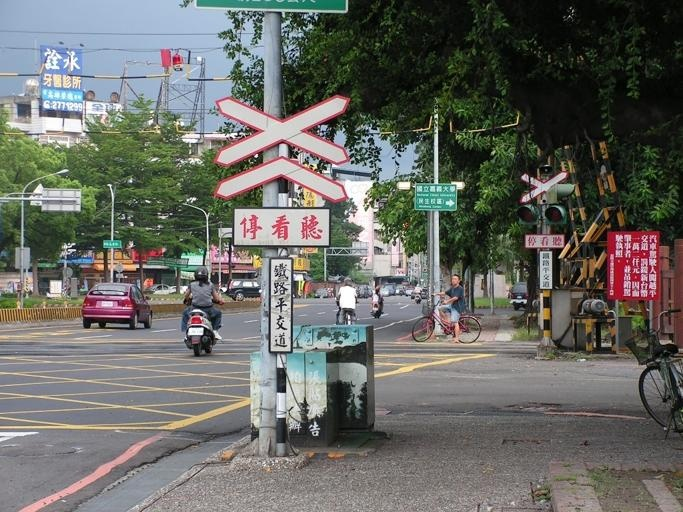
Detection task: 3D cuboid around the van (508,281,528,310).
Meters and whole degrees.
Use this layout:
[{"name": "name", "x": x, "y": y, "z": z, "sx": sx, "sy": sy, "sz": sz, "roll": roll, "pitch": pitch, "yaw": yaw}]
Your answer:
[{"name": "van", "x": 11.511, "y": 2.482, "z": 57.793, "sx": 1.851, "sy": 1.795, "sz": 4.147, "roll": 0, "pitch": -5, "yaw": 6}]

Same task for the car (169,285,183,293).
[{"name": "car", "x": -16.159, "y": 3.267, "z": 90.177, "sx": 1.791, "sy": 0.616, "sz": 0.845, "roll": -8, "pitch": -1, "yaw": 28}]

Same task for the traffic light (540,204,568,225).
[{"name": "traffic light", "x": 4.579, "y": -0.919, "z": 19.759, "sx": 0.453, "sy": 0.411, "sz": 0.650, "roll": -1, "pitch": -2, "yaw": 11}]

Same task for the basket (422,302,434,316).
[{"name": "basket", "x": 2.993, "y": 1.868, "z": 32.414, "sx": 0.505, "sy": 0.488, "sz": 0.397, "roll": 7, "pitch": -8, "yaw": -24}]

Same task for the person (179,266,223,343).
[{"name": "person", "x": -3.151, "y": 0.973, "z": 21.665, "sx": 1.054, "sy": 1.195, "sz": 1.748, "roll": 0, "pitch": 2, "yaw": 1}]

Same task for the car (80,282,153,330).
[{"name": "car", "x": -7.906, "y": 1.733, "z": 32.816, "sx": 1.247, "sy": 1.087, "sz": 2.547, "roll": 0, "pitch": 1, "yaw": 3}]

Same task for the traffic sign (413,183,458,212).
[{"name": "traffic sign", "x": 3.026, "y": -1.907, "z": 29.350, "sx": 1.170, "sy": 0.811, "sz": 0.082, "roll": 0, "pitch": 3, "yaw": 3}]

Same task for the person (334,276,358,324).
[{"name": "person", "x": 0.199, "y": 1.608, "z": 31.439, "sx": 0.868, "sy": 1.017, "sz": 1.625, "roll": 1, "pitch": 7, "yaw": 1}]

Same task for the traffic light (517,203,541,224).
[{"name": "traffic light", "x": 4.004, "y": -0.892, "z": 19.637, "sx": 0.480, "sy": 0.496, "sz": 0.386, "roll": -2, "pitch": -1, "yaw": 21}]

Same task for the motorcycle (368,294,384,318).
[{"name": "motorcycle", "x": 1.709, "y": 2.521, "z": 45.879, "sx": 0.544, "sy": 0.763, "sz": 1.218, "roll": 2, "pitch": 7, "yaw": 6}]

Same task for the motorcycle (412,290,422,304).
[{"name": "motorcycle", "x": 6.154, "y": 3.332, "z": 74.497, "sx": 0.596, "sy": 0.692, "sz": 1.112, "roll": 0, "pitch": -7, "yaw": 2}]

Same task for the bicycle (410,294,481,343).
[{"name": "bicycle", "x": 3.435, "y": 2.030, "z": 28.141, "sx": 2.449, "sy": 1.474, "sz": 1.228, "roll": 2, "pitch": 4, "yaw": -2}]

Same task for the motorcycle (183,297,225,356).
[{"name": "motorcycle", "x": -3.190, "y": 1.731, "z": 21.138, "sx": 0.678, "sy": 1.142, "sz": 1.085, "roll": 0, "pitch": -2, "yaw": 4}]

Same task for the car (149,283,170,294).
[{"name": "car", "x": -18.317, "y": 3.427, "z": 93.542, "sx": 2.061, "sy": 1.027, "sz": 1.216, "roll": 5, "pitch": 0, "yaw": -3}]

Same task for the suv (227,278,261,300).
[{"name": "suv", "x": -7.758, "y": 2.667, "z": 73.725, "sx": 2.499, "sy": 1.504, "sz": 1.563, "roll": 0, "pitch": -2, "yaw": -8}]
